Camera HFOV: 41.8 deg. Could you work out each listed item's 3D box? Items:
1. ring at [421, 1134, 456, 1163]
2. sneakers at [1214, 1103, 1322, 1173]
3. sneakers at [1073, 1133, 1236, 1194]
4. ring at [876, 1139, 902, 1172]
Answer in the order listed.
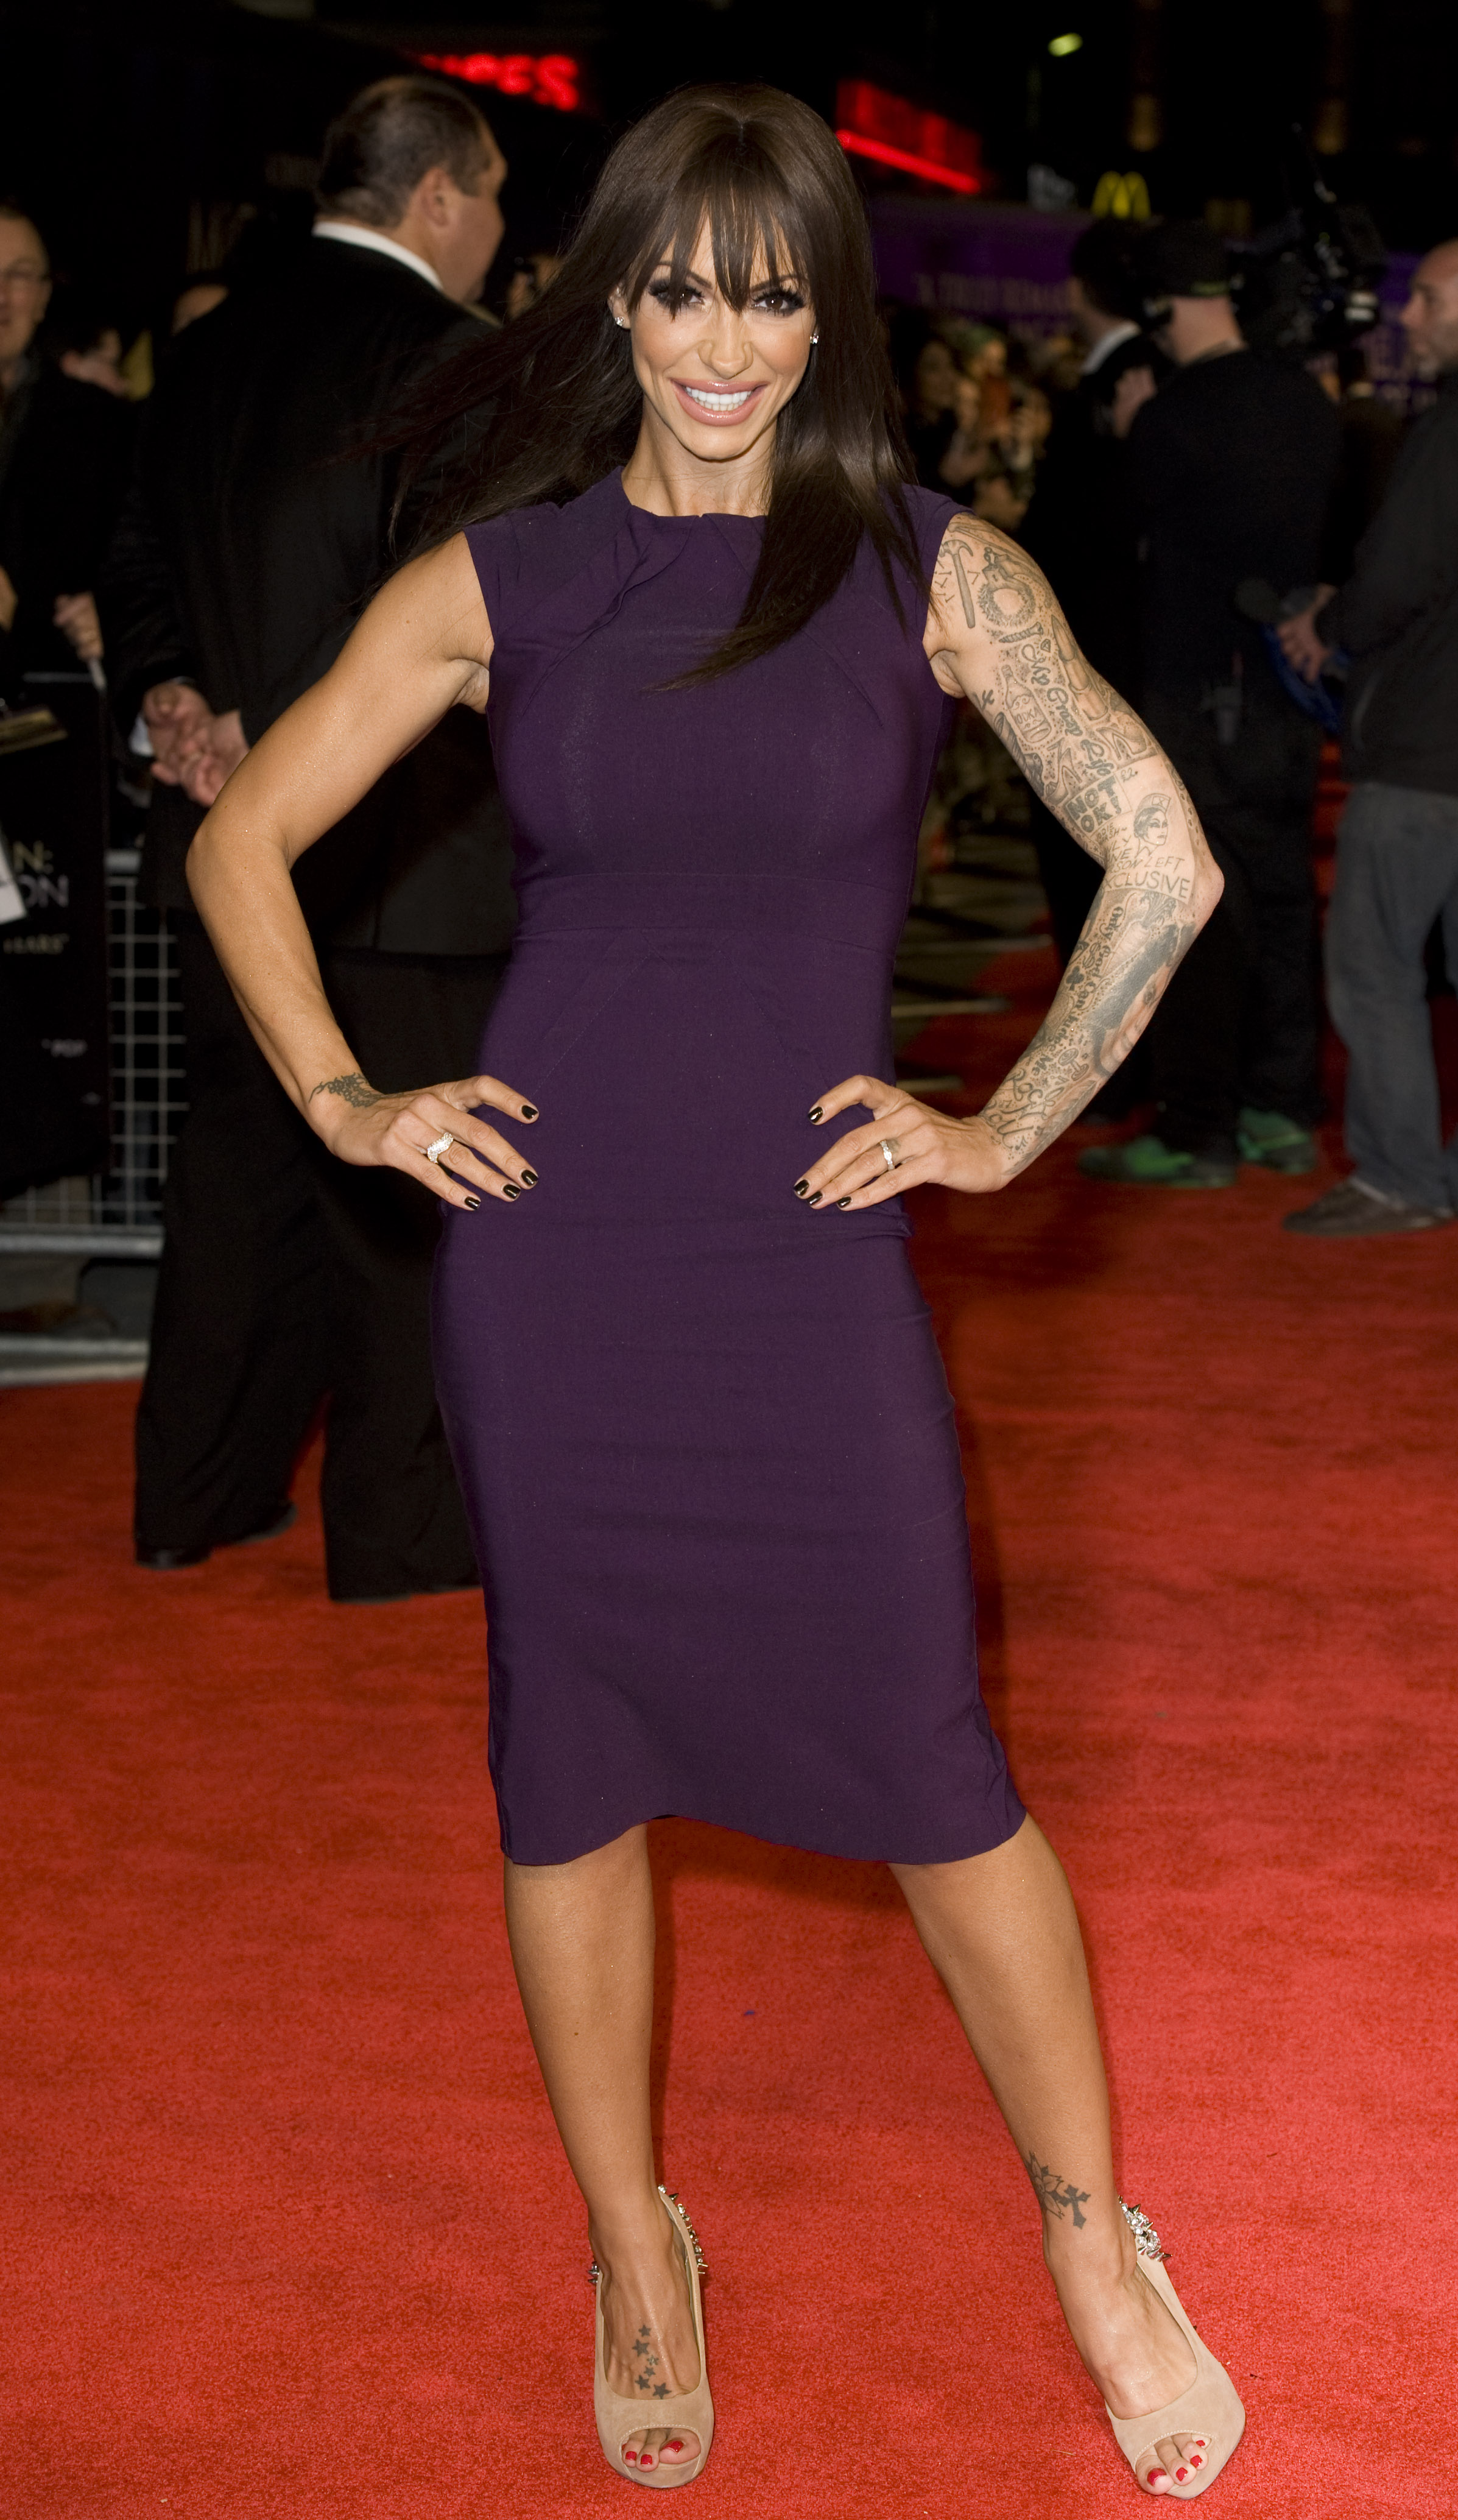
[{"bbox_3d":[-0.167,-0.062,1.084,0.011,0.018,0.006,31,14,13],"label":"ring"},{"bbox_3d":[1.881,-0.397,6.566,0.163,0.191,0.412,-2,6,-4],"label":"sneakers"},{"bbox_3d":[1.411,-0.308,6.324,0.502,0.220,0.188,5,14,8],"label":"sneakers"},{"bbox_3d":[0.087,-0.056,1.049,0.005,0.015,0.011,-20,21,-37],"label":"ring"}]
